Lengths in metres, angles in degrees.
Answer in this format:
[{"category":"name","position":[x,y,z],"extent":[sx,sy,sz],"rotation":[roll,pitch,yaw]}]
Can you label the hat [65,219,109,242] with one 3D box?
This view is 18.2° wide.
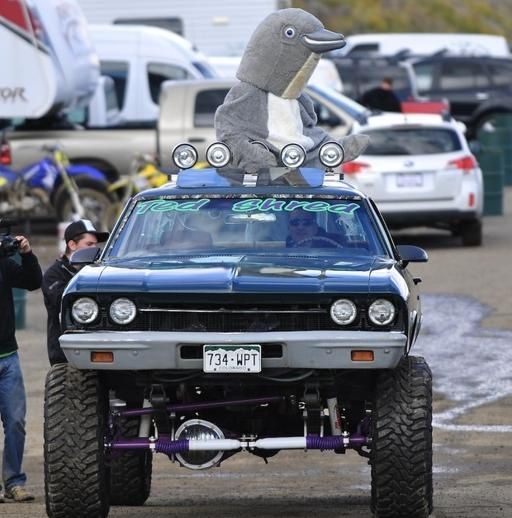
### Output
[{"category":"hat","position":[-1.151,-0.188,10.839],"extent":[0.260,0.129,0.156],"rotation":[-11,5,0]}]
